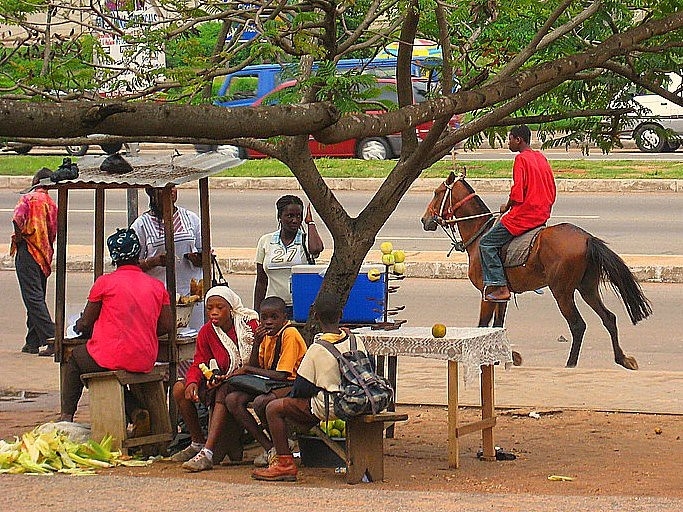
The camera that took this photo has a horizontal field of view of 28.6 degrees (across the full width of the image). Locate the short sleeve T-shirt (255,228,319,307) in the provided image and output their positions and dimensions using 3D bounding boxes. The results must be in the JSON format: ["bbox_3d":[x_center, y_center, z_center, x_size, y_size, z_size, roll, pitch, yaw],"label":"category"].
[{"bbox_3d":[-0.527,0.114,13.239,0.773,0.799,0.445,1,-9,11],"label":"short sleeve T-shirt"}]

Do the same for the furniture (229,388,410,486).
[{"bbox_3d":[0.020,1.719,12.017,0.663,0.551,1.183,4,-11,-33],"label":"furniture"}]

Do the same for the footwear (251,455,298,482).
[{"bbox_3d":[-0.547,1.825,11.662,0.424,0.226,0.183,1,-8,9],"label":"footwear"}]

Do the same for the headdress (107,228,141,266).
[{"bbox_3d":[-2.066,-0.101,12.724,0.285,0.349,0.333,1,-37,-1],"label":"headdress"}]

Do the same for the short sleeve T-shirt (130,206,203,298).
[{"bbox_3d":[-1.766,-0.021,13.510,0.942,1.017,0.601,-5,2,-40],"label":"short sleeve T-shirt"}]

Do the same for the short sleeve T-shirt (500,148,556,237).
[{"bbox_3d":[2.251,-0.792,16.408,0.554,0.917,0.704,-4,-3,40],"label":"short sleeve T-shirt"}]

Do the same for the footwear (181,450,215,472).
[{"bbox_3d":[-1.265,1.823,12.001,0.338,0.135,0.120,5,2,-43],"label":"footwear"}]

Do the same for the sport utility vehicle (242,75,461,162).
[{"bbox_3d":[1.251,-3.313,32.259,5.384,1.999,2.547,1,5,10],"label":"sport utility vehicle"}]

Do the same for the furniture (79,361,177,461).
[{"bbox_3d":[-1.997,1.433,12.582,0.569,0.777,0.742,0,1,43],"label":"furniture"}]

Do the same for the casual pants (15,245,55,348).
[{"bbox_3d":[-3.912,0.519,17.229,0.423,1.334,0.778,-1,11,-20],"label":"casual pants"}]

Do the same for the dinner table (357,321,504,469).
[{"bbox_3d":[0.759,1.325,12.674,1.325,0.967,1.396,2,3,32],"label":"dinner table"}]

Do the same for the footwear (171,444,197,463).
[{"bbox_3d":[-1.489,1.791,12.316,0.308,0.126,0.119,-5,1,-14],"label":"footwear"}]

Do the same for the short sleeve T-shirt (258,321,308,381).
[{"bbox_3d":[-0.541,0.847,11.962,0.271,0.385,0.464,26,-21,-37],"label":"short sleeve T-shirt"}]

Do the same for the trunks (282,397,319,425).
[{"bbox_3d":[-0.360,1.338,11.655,0.302,0.156,0.093,4,9,6],"label":"trunks"}]

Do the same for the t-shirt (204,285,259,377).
[{"bbox_3d":[-0.993,0.675,12.419,0.447,0.806,0.421,-10,1,-4],"label":"t-shirt"}]

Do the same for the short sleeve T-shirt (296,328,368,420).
[{"bbox_3d":[-0.085,1.032,11.564,0.791,0.765,0.433,5,-7,-33],"label":"short sleeve T-shirt"}]

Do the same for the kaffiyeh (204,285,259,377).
[{"bbox_3d":[-1.010,0.677,12.432,0.462,0.803,0.428,-11,8,-15],"label":"kaffiyeh"}]

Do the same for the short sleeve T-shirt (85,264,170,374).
[{"bbox_3d":[-2.011,0.571,12.458,0.684,0.925,0.450,1,10,-9],"label":"short sleeve T-shirt"}]
